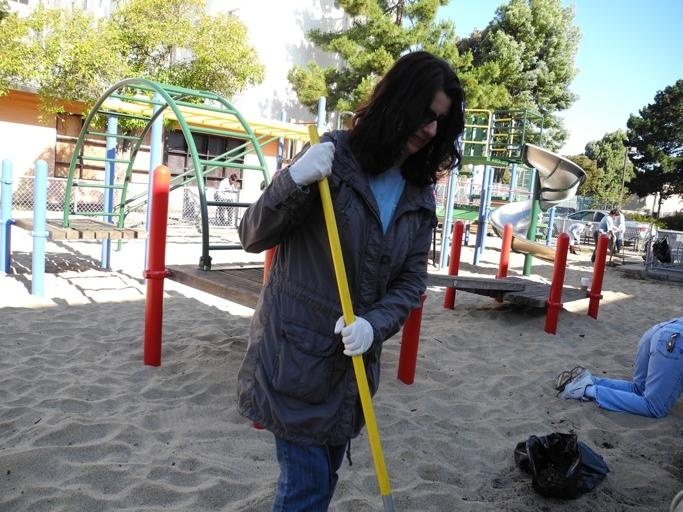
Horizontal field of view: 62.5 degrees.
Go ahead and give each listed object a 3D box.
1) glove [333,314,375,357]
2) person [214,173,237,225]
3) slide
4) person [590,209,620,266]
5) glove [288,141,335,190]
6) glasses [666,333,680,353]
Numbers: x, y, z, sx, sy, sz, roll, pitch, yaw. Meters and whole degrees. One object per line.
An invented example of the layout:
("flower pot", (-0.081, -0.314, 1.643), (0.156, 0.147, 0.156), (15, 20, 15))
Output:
("glove", (0.057, 0.381, 2.954), (0.208, 0.111, 0.280), (-26, 23, -6))
("person", (-3.210, -1.554, 15.941), (0.667, 1.847, 0.554), (10, -26, -21))
("slide", (3.936, -1.045, 11.446), (1.487, 2.224, 1.485), (12, 2, 18))
("person", (7.044, -0.478, 14.999), (0.777, 0.756, 2.078), (-2, -29, 15))
("glove", (-0.156, -0.466, 2.858), (0.230, 0.228, 0.134), (3, 13, -7))
("glasses", (2.815, 0.741, 4.794), (0.041, 0.166, 0.079), (10, 16, -34))
